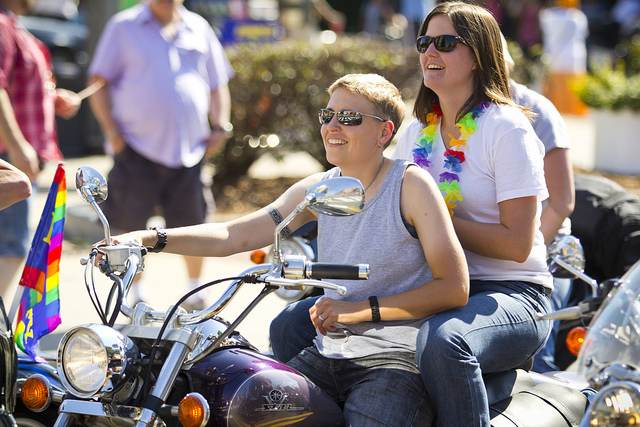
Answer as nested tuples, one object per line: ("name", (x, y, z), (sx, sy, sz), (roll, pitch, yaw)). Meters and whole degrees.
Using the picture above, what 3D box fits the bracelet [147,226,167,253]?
("bracelet", (-0.981, 0.156, 6.257), (0.093, 0.171, 0.151), (0, -2, -33))

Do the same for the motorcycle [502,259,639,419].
("motorcycle", (1.444, 0.770, 5.791), (0.585, 1.069, 1.156), (2, 11, 5))

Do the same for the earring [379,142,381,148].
("earring", (0.371, -0.422, 6.202), (0.007, 0.032, 0.017), (8, 13, 35))

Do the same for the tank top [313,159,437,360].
("tank top", (0.359, 0.087, 6.225), (0.764, 1.079, 0.595), (27, 37, 28))

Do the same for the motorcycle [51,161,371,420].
("motorcycle", (-0.437, 0.466, 6.153), (1.276, 1.403, 2.071), (17, 7, 34))
